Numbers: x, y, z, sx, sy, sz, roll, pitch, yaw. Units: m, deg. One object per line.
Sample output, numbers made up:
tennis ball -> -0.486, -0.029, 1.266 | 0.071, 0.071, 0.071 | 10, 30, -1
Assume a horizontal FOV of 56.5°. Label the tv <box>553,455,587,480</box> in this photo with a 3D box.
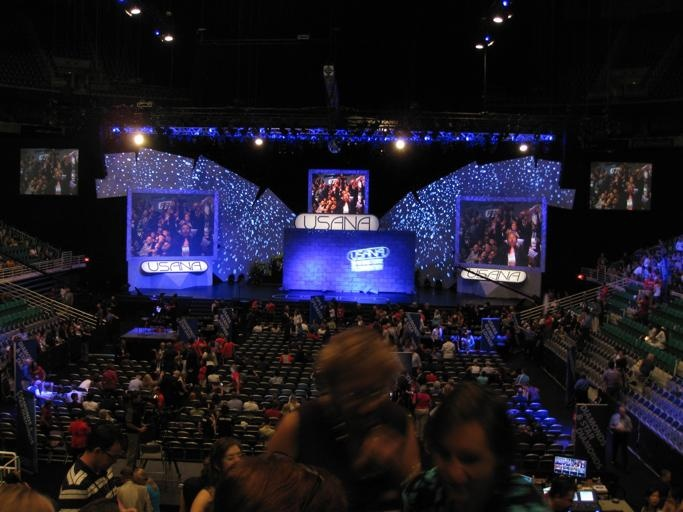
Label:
tv -> 4.976, 4.668, 13.854 | 0.824, 0.541, 0.412 | 0, 1, -27
